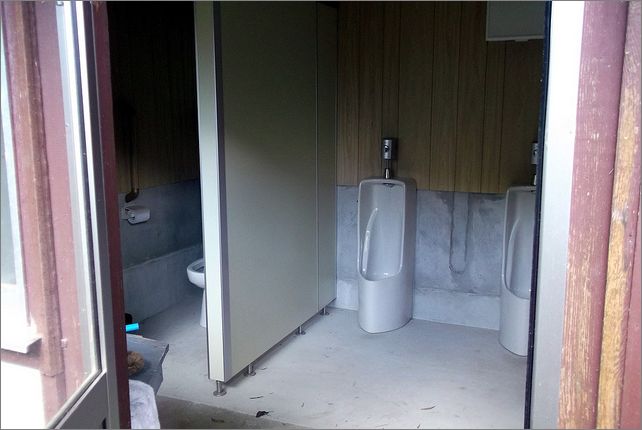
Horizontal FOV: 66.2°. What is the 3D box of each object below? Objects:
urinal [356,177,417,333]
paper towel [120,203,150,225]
[{"bbox_3d":[0.491,0.294,3.695,0.427,1.143,0.356,2,13,9],"label":"urinal"},{"bbox_3d":[-1.399,-0.014,3.683,0.135,0.120,0.163,-2,1,-3],"label":"paper towel"}]
